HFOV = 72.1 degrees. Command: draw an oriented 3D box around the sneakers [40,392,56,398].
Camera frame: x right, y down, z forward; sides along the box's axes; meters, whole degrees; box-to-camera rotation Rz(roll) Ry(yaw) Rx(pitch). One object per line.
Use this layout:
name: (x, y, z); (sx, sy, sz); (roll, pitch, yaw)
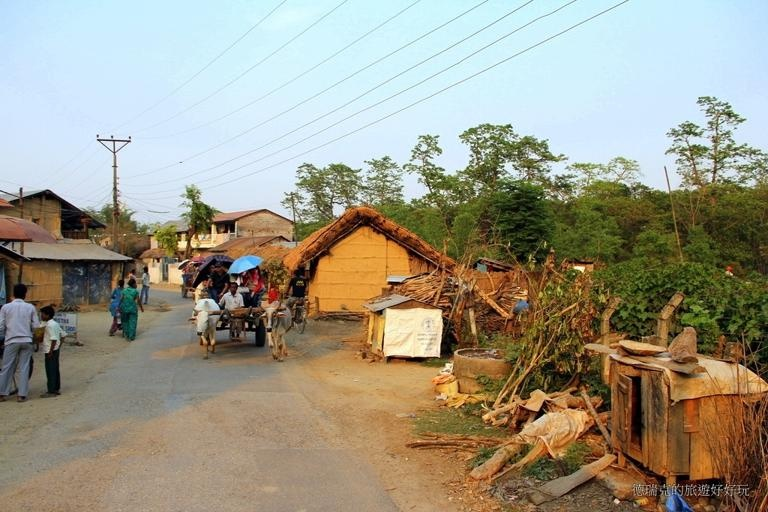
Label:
sneakers: (-7.996, 3.287, 12.572); (0.319, 0.112, 0.144); (8, -7, -17)

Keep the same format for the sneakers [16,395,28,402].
sneakers: (-8.344, 3.265, 12.151); (0.103, 0.140, 0.226); (3, 10, 11)
